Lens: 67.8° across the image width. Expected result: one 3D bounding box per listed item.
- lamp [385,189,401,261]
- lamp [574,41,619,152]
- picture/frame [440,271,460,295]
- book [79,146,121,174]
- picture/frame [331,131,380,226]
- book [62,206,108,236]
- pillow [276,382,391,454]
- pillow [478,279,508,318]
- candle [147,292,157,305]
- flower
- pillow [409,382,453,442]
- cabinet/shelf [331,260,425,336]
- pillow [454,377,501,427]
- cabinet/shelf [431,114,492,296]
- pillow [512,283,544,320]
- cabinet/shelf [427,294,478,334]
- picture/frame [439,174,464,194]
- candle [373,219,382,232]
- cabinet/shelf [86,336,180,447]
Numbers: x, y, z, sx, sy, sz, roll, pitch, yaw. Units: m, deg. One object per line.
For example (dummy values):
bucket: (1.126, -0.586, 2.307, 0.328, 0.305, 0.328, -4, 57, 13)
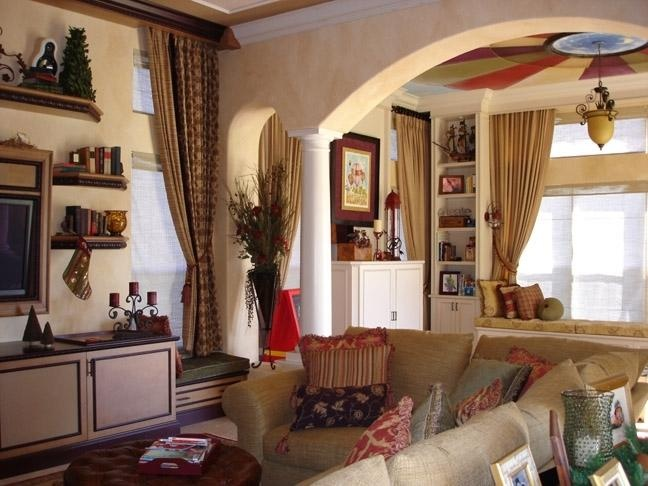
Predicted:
lamp: (1.044, -0.299, 7.251, 0.215, 1.079, 0.882, 0, -1, 9)
lamp: (3.104, -1.702, 5.432, 0.493, 1.255, 0.461, 1, -3, -3)
picture/frame: (1.986, 0.630, 7.557, 0.328, 0.389, 0.055, 3, -1, 34)
book: (-2.011, -0.734, 4.364, 0.254, 0.339, 0.332, 1, -4, -39)
picture/frame: (0.414, -0.877, 6.587, 0.067, 1.469, 1.337, -1, -2, 33)
book: (-2.110, -0.180, 4.283, 0.237, 0.269, 0.377, -6, -8, 44)
pillow: (0.222, 1.162, 3.434, 0.668, 0.249, 0.939, -4, -4, -4)
pillow: (2.432, 0.797, 6.902, 0.501, 0.568, 0.189, 4, -8, -41)
candle: (-1.550, 0.498, 4.365, 0.076, 0.127, 0.312, 1, -1, -21)
flower: (-0.676, 0.020, 5.305, 0.718, 1.856, 0.700, 1, -1, -20)
pillow: (0.454, 0.720, 2.073, 0.179, 0.213, 0.250, 0, -1, 25)
cabinet/shelf: (0.754, 0.715, 6.420, 1.519, 0.949, 0.317, 2, -2, -42)
pillow: (0.771, 0.793, 2.410, 0.197, 0.214, 0.175, 0, -1, 35)
cabinet/shelf: (2.169, -0.573, 7.668, 0.846, 2.907, 0.489, 0, -1, 34)
pillow: (2.820, 0.823, 6.681, 0.396, 0.419, 0.122, 4, -16, -27)
cabinet/shelf: (1.980, 1.067, 7.277, 0.710, 0.697, 0.299, -1, -4, 35)
picture/frame: (2.027, -0.925, 7.643, 0.304, 0.264, 0.024, 1, 1, 10)
candle: (0.743, -0.247, 6.850, 0.145, 0.166, 0.143, 3, -3, -43)
cabinet/shelf: (-1.557, 1.220, 4.151, 0.834, 0.727, 0.314, -10, -14, 8)
